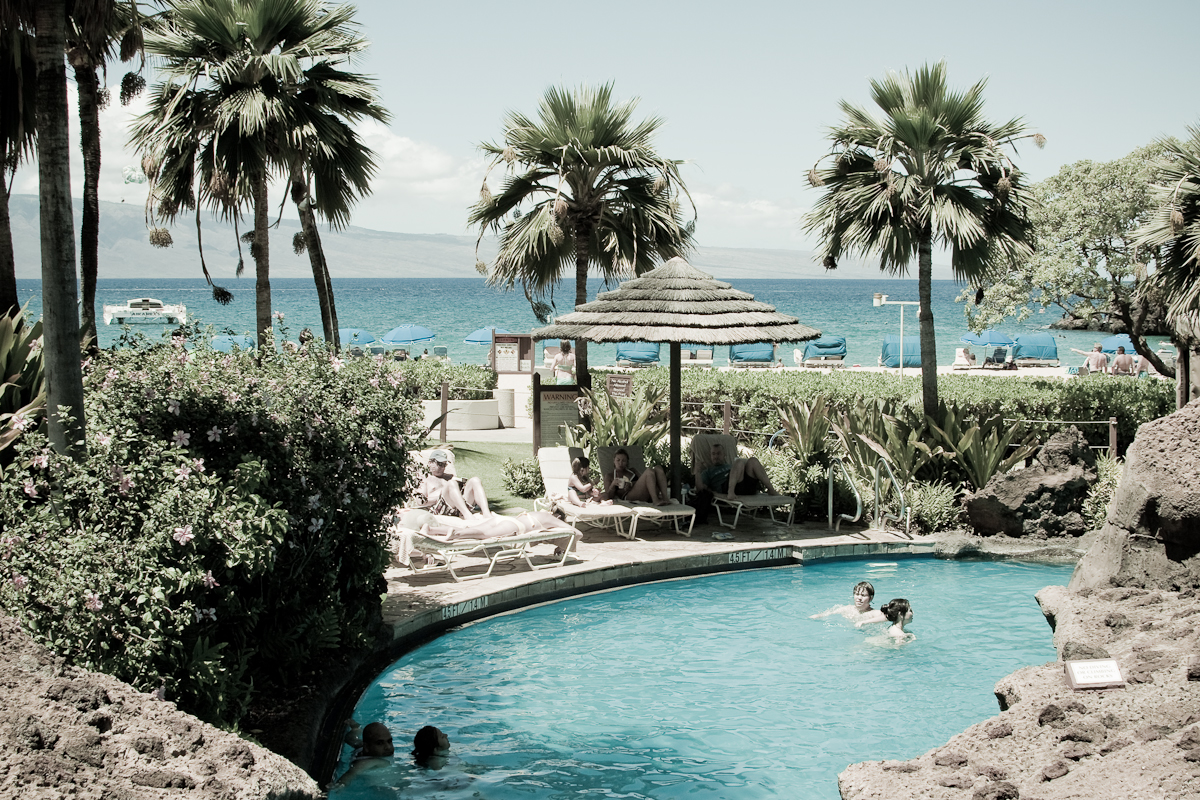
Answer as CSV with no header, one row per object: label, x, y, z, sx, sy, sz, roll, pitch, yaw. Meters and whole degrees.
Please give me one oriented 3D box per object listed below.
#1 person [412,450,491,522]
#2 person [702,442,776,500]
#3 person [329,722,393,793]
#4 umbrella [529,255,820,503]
person,-1.877,1.132,12.196,0.562,0.907,1.313,3,-22,-37
person,2.044,1.026,14.313,0.835,0.932,1.440,-4,-6,-22
person,-1.963,3.007,8.129,0.268,0.404,0.813,-7,-6,8
umbrella,1.392,-0.109,14.802,3.441,3.195,3.932,0,6,11
